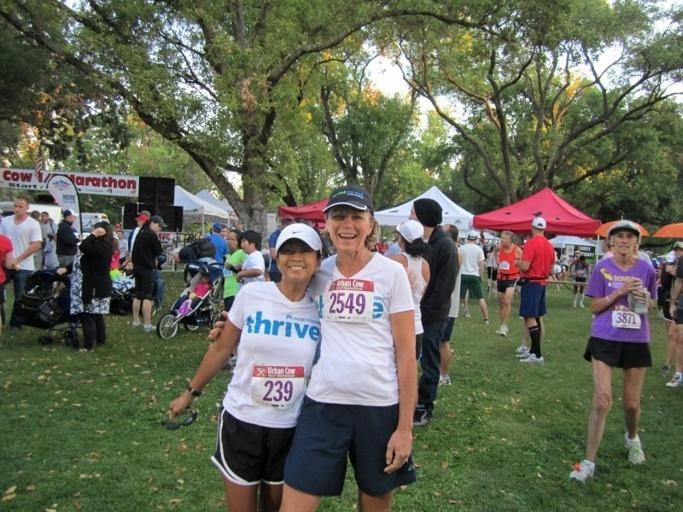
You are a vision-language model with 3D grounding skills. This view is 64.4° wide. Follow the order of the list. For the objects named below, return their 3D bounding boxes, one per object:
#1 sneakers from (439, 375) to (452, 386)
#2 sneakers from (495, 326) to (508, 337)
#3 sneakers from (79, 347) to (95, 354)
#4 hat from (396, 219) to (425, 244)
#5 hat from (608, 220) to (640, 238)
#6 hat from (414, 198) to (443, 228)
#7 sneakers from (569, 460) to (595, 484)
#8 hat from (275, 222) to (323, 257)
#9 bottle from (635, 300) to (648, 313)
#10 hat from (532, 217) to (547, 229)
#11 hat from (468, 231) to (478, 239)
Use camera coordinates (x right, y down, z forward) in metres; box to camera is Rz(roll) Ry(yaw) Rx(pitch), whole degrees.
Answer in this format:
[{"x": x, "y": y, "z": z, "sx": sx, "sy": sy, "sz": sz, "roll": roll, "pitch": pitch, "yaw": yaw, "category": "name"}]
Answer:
[{"x": 1.700, "y": 2.065, "z": 8.982, "sx": 0.123, "sy": 0.145, "sz": 0.305, "roll": -5, "pitch": -10, "yaw": 41, "category": "sneakers"}, {"x": 3.732, "y": 1.777, "z": 12.716, "sx": 0.148, "sy": 0.203, "sz": 0.455, "roll": -3, "pitch": -18, "yaw": 21, "category": "sneakers"}, {"x": -4.742, "y": 1.742, "z": 10.063, "sx": 0.176, "sy": 0.094, "sz": 0.111, "roll": -4, "pitch": -7, "yaw": 45, "category": "sneakers"}, {"x": 0.875, "y": -0.359, "z": 7.084, "sx": 0.225, "sy": 0.179, "sz": 0.329, "roll": -3, "pitch": 33, "yaw": -20, "category": "hat"}, {"x": 3.523, "y": -0.356, "z": 6.801, "sx": 0.339, "sy": 0.265, "sz": 0.646, "roll": 2, "pitch": -3, "yaw": 28, "category": "hat"}, {"x": 1.208, "y": -0.622, "z": 7.688, "sx": 0.421, "sy": 0.362, "sz": 0.324, "roll": 27, "pitch": 45, "yaw": 25, "category": "hat"}, {"x": 2.864, "y": 2.582, "z": 6.527, "sx": 0.385, "sy": 0.178, "sz": 0.163, "roll": 10, "pitch": -6, "yaw": -37, "category": "sneakers"}, {"x": -0.354, "y": -0.115, "z": 4.968, "sx": 0.332, "sy": 0.272, "sz": 0.572, "roll": 2, "pitch": -10, "yaw": -6, "category": "hat"}, {"x": 3.571, "y": 0.613, "z": 6.485, "sx": 0.134, "sy": 0.141, "sz": 0.234, "roll": -2, "pitch": -5, "yaw": 27, "category": "bottle"}, {"x": 3.813, "y": -0.627, "z": 10.545, "sx": 0.253, "sy": 0.207, "sz": 0.378, "roll": 6, "pitch": 18, "yaw": 15, "category": "hat"}, {"x": 3.315, "y": -0.522, "z": 13.724, "sx": 0.189, "sy": 0.281, "sz": 0.264, "roll": -5, "pitch": -2, "yaw": 10, "category": "hat"}]
